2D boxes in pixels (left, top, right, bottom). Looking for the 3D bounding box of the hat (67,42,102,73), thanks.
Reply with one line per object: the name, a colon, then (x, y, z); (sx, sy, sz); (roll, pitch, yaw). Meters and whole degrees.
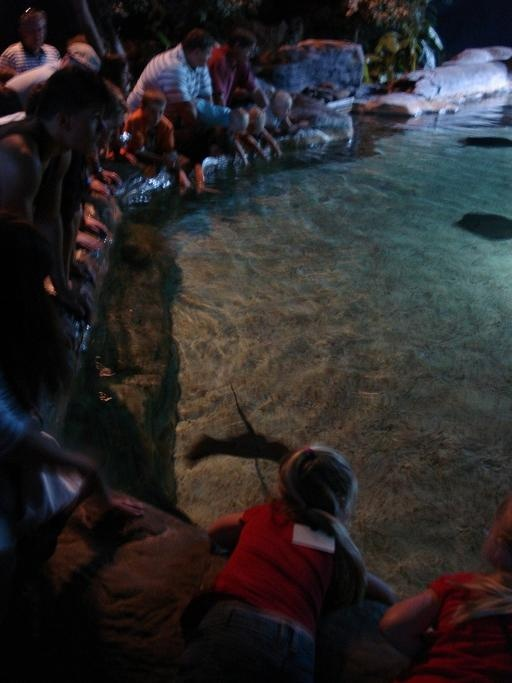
hat: (-1.381, -2.308, 4.375); (0.242, 0.232, 0.802); (-8, 23, -12)
